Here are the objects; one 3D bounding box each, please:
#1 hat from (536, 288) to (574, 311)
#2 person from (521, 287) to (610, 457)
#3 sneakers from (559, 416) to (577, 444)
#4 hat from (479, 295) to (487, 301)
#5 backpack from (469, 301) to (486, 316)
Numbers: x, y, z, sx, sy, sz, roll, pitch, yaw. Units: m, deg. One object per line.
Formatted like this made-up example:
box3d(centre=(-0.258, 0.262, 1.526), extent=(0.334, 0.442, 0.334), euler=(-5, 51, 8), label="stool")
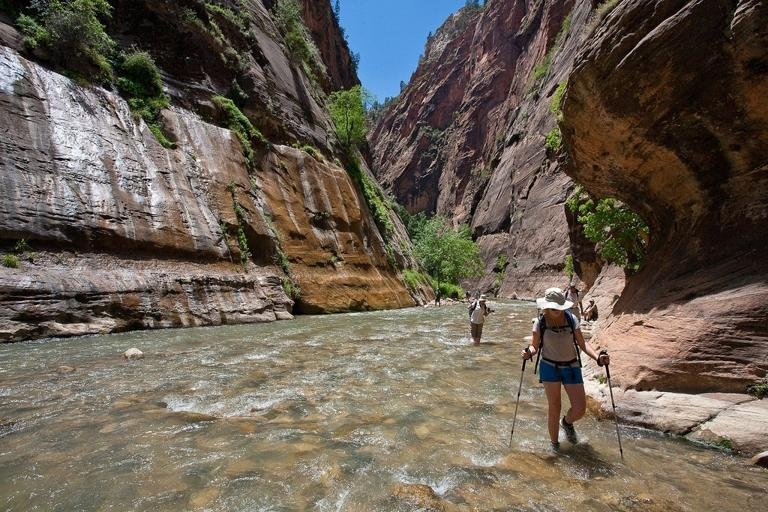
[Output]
box3d(centre=(3.043, 0.830, 6.843), extent=(0.560, 0.214, 0.551), euler=(-4, 0, 3), label="hat")
box3d(centre=(3.059, 1.953, 6.586), extent=(0.925, 2.734, 0.693), euler=(3, 3, 27), label="person")
box3d(centre=(3.272, 3.121, 6.620), extent=(0.189, 0.197, 0.448), euler=(2, 14, 1), label="sneakers")
box3d(centre=(3.538, 1.585, 13.524), extent=(0.356, 0.171, 0.500), euler=(-2, -3, 16), label="hat")
box3d(centre=(3.352, 1.924, 13.327), extent=(0.570, 0.549, 0.320), euler=(10, -1, 15), label="backpack")
